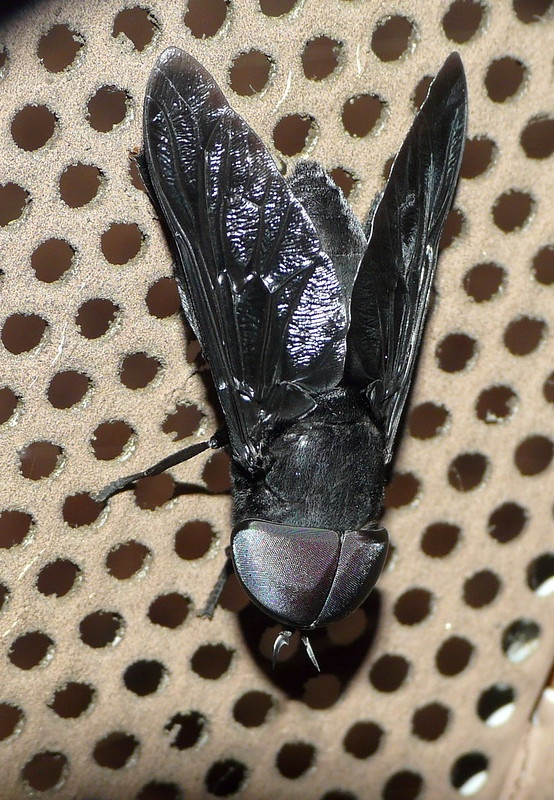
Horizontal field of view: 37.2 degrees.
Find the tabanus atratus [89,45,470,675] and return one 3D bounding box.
[{"bbox_3d":[-0.009,-0.033,0.673,0.260,0.504,0.176,9,8,5],"label":"tabanus atratus"}]
